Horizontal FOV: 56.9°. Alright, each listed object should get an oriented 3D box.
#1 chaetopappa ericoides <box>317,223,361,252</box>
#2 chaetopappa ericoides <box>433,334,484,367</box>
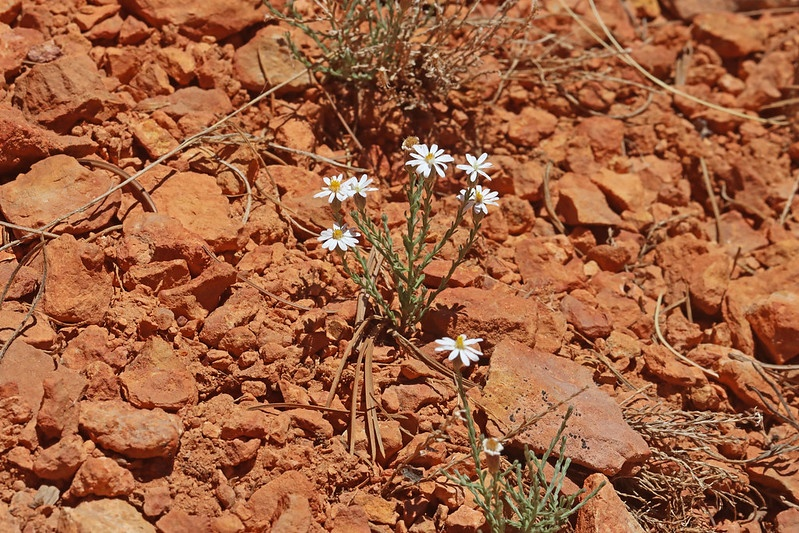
[{"bbox_3d":[-0.319,-0.127,3.823,0.179,0.161,0.142,9,59,5],"label":"chaetopappa ericoides"},{"bbox_3d":[0.290,0.405,3.624,0.205,0.098,0.217,-9,49,0],"label":"chaetopappa ericoides"}]
